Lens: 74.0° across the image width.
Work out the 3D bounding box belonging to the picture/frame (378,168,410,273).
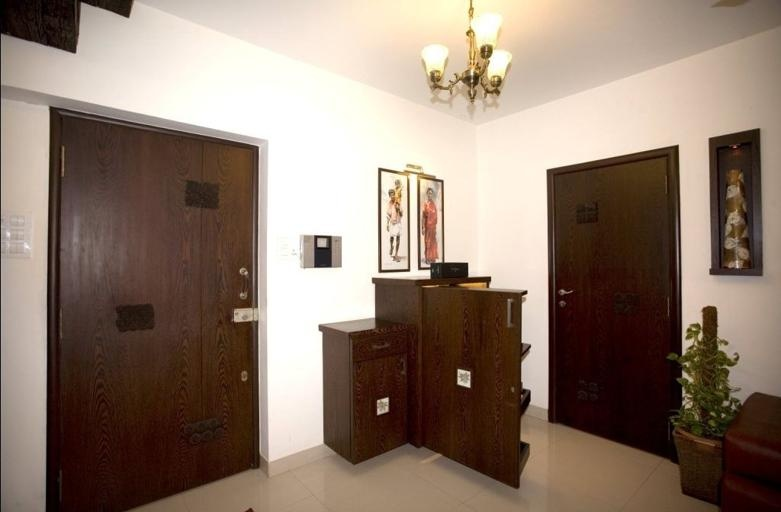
[{"bbox_3d":[0.032,-0.375,5.469,0.426,1.062,0.081,-3,2,-44],"label":"picture/frame"}]

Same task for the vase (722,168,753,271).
[{"bbox_3d":[3.074,-0.338,4.630,0.209,0.869,0.076,-1,2,36],"label":"vase"}]
